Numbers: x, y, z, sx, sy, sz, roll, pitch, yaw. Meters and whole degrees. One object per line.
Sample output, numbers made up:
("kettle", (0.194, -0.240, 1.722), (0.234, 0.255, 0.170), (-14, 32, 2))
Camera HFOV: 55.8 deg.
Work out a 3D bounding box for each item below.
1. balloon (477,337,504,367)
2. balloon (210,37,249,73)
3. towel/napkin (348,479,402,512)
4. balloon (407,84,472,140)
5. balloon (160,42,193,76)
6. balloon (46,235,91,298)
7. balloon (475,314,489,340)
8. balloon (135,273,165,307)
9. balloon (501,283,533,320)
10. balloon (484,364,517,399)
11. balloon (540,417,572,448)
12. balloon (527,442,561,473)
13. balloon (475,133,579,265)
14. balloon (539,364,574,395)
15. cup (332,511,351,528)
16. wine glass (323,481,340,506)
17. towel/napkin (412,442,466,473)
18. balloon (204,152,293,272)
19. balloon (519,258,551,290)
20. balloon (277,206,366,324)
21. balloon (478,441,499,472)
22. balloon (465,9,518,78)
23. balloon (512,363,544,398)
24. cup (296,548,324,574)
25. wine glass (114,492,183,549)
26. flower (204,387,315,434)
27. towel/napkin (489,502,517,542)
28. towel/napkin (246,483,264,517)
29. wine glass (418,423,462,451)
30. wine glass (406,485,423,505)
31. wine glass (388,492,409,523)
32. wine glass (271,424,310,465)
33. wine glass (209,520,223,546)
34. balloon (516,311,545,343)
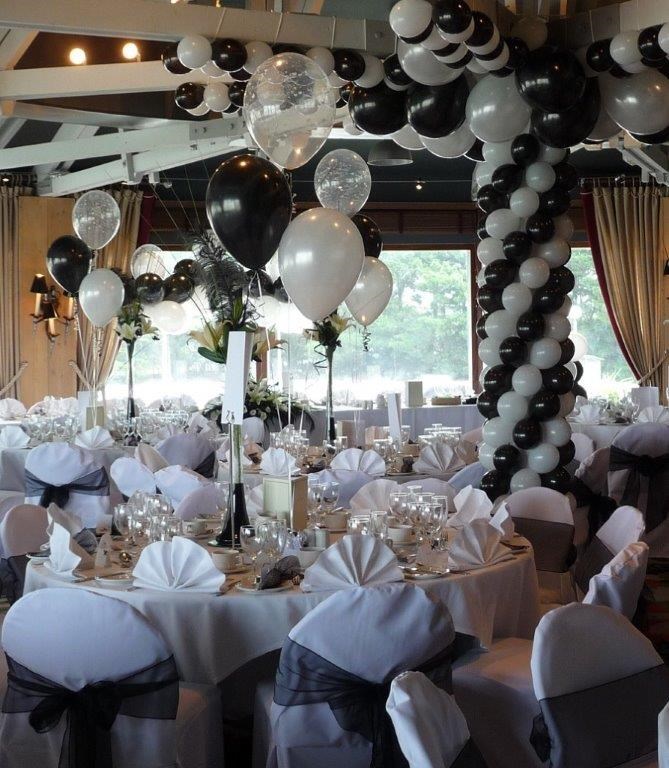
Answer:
("balloon", (0.947, -0.206, 3.929), (0.153, 0.184, 0.156), (6, -27, -14))
("balloon", (-0.603, -1.899, 3.696), (0.175, 0.213, 0.175), (2, 10, 5))
("towel/napkin", (0.179, 0.478, 2.706), (0.183, 0.210, 0.053), (2, 3, -15))
("balloon", (0.541, -1.436, 3.390), (0.230, 0.329, 0.182), (2, 17, -1))
("balloon", (-0.942, -1.962, 3.804), (0.188, 0.163, 0.215), (-2, -7, -1))
("balloon", (-2.478, -1.130, 5.880), (0.387, 0.554, 0.321), (-3, -6, 29))
("balloon", (0.936, -0.365, 4.011), (0.107, 0.136, 0.123), (0, -18, 0))
("balloon", (-1.957, -1.020, 6.711), (0.301, 0.362, 0.421), (2, -6, -17))
("balloon", (1.069, -0.494, 3.795), (0.176, 0.213, 0.183), (-1, -26, 6))
("balloon", (1.008, -0.022, 3.837), (0.138, 0.147, 0.191), (-3, 3, -4))
("balloon", (1.320, 0.294, 3.836), (0.159, 0.194, 0.165), (2, -27, 3))
("balloon", (1.227, 0.453, 3.781), (0.161, 0.202, 0.168), (3, -21, -2))
("balloon", (1.145, -1.091, 3.828), (0.607, 0.777, 0.446), (-2, -6, 22))
("balloon", (1.318, -0.025, 3.749), (0.157, 0.193, 0.165), (-3, -21, 18))
("cup", (0.028, 0.547, 2.588), (0.071, 0.058, 0.067), (-4, 0, 0))
("wine glass", (-0.013, 0.450, 2.595), (0.053, 0.092, 0.123), (0, -6, 2))
("towel/napkin", (0.679, 0.487, 4.074), (0.331, 0.205, 0.172), (0, -6, 2))
("balloon", (-0.324, -0.665, 2.469), (0.343, 0.441, 0.353), (-2, -1, -15))
("balloon", (1.160, -0.642, 3.760), (0.169, 0.204, 0.174), (1, -17, -1))
("balloon", (-0.013, -0.518, 2.669), (0.377, 0.516, 0.383), (14, 18, 22))
("balloon", (0.941, 0.447, 3.930), (0.131, 0.158, 0.136), (0, -28, -6))
("balloon", (0.736, -1.596, 2.953), (0.145, 0.154, 0.463), (2, -2, 16))
("balloon", (1.134, -0.013, 3.754), (0.169, 0.206, 0.175), (1, -13, 0))
("cup", (-0.078, 0.544, 1.972), (0.081, 0.064, 0.073), (-4, -5, 37))
("wine glass", (-0.631, 0.459, 2.135), (0.181, 0.162, 0.197), (1, -8, -4))
("flower", (-0.750, 0.272, 6.548), (0.743, 0.487, 0.771), (4, 2, 24))
("towel/napkin", (0.641, 0.526, 2.393), (0.081, 0.156, 0.125), (-11, 17, 10))
("towel/napkin", (-0.342, 0.506, 2.785), (0.043, 0.115, 0.113), (18, 7, 10))
("wine glass", (0.813, 0.410, 4.905), (0.284, 0.140, 0.398), (0, 6, 10))
("wine glass", (0.303, 0.420, 2.396), (0.062, 0.102, 0.063), (2, -9, -7))
("wine glass", (0.251, 0.475, 2.446), (0.064, 0.113, 0.151), (0, -6, 3))
("wine glass", (-0.282, 0.406, 4.221), (0.238, 0.279, 0.254), (2, -9, -16))
("wine glass", (-0.458, 0.583, 2.456), (0.065, 0.076, 0.110), (1, -3, -4))
("balloon", (1.163, -0.334, 3.713), (0.156, 0.189, 0.154), (2, -10, -3))
